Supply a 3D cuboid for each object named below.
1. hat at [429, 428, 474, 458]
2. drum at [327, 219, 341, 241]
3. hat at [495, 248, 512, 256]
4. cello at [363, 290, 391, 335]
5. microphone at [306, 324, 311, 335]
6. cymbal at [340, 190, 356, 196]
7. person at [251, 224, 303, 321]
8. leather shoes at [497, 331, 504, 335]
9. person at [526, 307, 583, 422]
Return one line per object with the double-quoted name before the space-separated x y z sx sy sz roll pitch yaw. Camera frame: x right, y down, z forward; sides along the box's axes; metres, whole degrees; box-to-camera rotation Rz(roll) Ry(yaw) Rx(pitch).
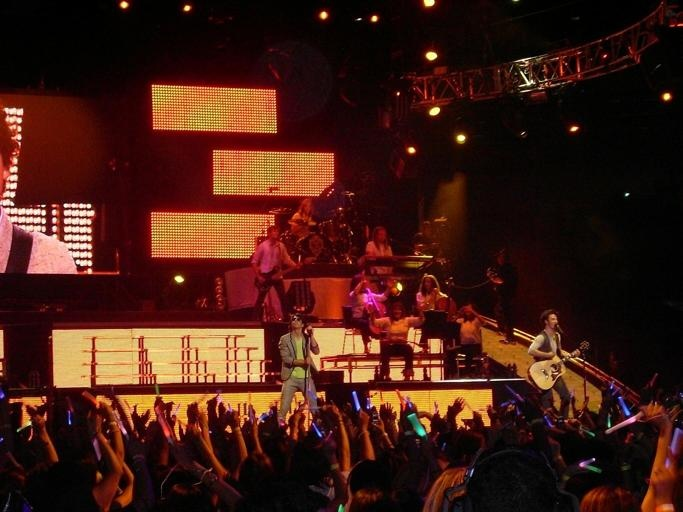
"hat" 1.115 1.888 8.928 0.332 0.186 0.418 -11 -17 -16
"drum" -0.158 -0.535 18.791 0.208 0.512 0.437 -8 -6 38
"hat" 3.392 -0.073 18.454 0.314 0.276 0.300 0 4 5
"cello" 0.685 1.026 16.574 0.558 0.738 0.260 0 -4 -30
"microphone" -0.520 1.132 13.713 0.124 0.108 0.203 10 -13 -4
"cymbal" 0.112 -1.335 18.892 0.240 0.114 0.326 -1 -2 15
"person" -1.304 0.315 17.128 0.868 1.773 0.630 -1 -6 -34
"leather shoes" 3.339 1.619 18.569 0.140 0.034 0.098 3 24 12
"person" 3.577 1.846 14.827 0.899 1.871 0.295 20 -25 -16
